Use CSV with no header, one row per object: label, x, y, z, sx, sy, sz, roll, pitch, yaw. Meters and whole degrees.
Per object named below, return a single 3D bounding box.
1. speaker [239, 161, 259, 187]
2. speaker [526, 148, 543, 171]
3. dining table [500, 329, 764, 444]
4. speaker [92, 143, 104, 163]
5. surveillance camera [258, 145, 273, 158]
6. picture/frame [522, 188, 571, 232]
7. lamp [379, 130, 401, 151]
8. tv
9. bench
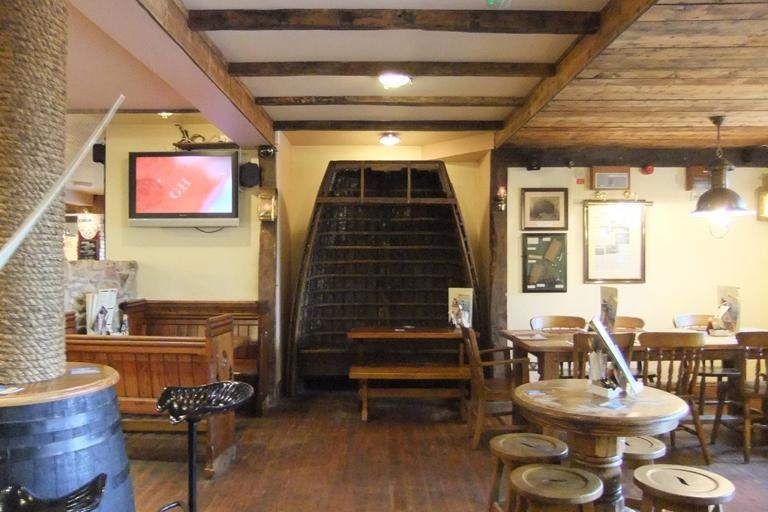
speaker,-1.617,-0.987,6.813,0.257,0.298,0.161,-2,11,-12
speaker,1.897,-1.249,7.222,0.251,0.244,0.103,3,-6,-1
dining table,2.170,1.114,4.861,1.873,0.328,0.918,0,1,6
speaker,-3.614,-1.333,7.188,0.150,0.245,0.385,-6,11,-27
surveillance camera,-1.424,-1.274,6.828,0.200,0.133,0.041,4,9,1
picture/frame,2.055,-0.589,7.212,0.780,0.516,0.072,0,1,0
lamp,0.073,-1.577,7.439,0.252,0.141,0.345,0,9,-1
tv,-2.400,-0.834,6.839,1.261,0.629,0.111,0,-4,1
bench,0.293,1.461,6.409,1.239,0.688,1.018,0,9,2
